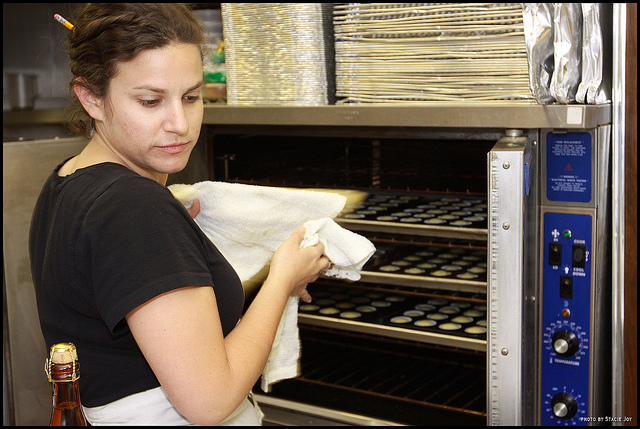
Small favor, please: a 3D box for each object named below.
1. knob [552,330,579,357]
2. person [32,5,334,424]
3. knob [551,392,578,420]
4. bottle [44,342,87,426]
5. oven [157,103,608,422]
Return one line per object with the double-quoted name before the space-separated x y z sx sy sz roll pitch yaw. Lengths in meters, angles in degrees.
"knob" 0.858 0.449 1.851 0.098 0.090 0.032 9 3 32
"person" -0.466 0.008 1.427 0.735 1.135 0.457 -2 5 11
"knob" 0.862 0.684 1.875 0.085 0.098 0.046 -1 5 20
"bottle" -0.595 0.391 1.240 0.075 0.214 0.176 -5 5 -27
"oven" 0.257 0.172 1.914 1.491 0.997 0.762 3 5 29
